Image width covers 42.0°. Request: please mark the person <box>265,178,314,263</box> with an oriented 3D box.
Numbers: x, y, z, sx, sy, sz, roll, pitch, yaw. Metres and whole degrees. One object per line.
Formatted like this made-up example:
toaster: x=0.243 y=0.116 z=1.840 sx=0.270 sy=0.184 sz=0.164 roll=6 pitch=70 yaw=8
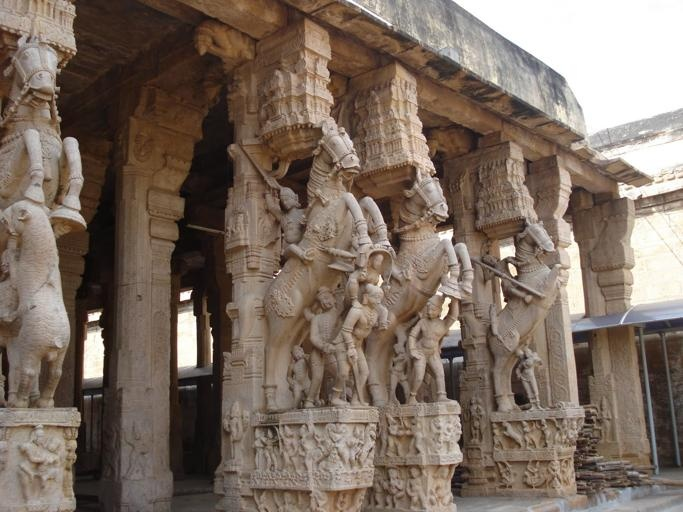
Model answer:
person: x=-0.739 y=-0.573 z=11.796 sx=0.517 sy=0.957 sz=0.299 roll=-3 pitch=-17 yaw=-5
